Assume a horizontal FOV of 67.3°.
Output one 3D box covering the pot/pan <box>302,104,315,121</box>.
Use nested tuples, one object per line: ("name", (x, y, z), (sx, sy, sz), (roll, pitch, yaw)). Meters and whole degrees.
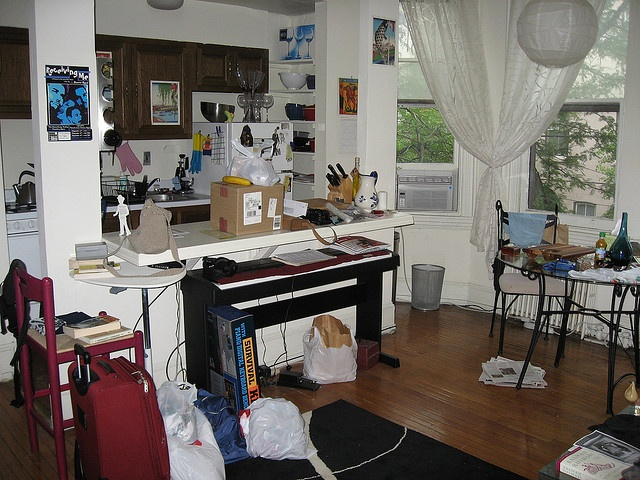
("pot/pan", (-0.124, -1.360, 5.191), (0.074, 0.146, 0.163), (-6, 15, -26))

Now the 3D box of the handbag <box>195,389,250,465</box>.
("handbag", (-0.570, 1.120, 2.900), (0.273, 0.364, 0.116), (-7, -18, -29))

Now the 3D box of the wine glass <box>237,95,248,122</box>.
("wine glass", (-0.804, -1.436, 5.175), (0.076, 0.341, 0.211), (1, 6, 13))

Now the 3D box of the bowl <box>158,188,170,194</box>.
("bowl", (-1.658, -0.527, 5.192), (0.046, 0.059, 0.129), (10, 8, 38))

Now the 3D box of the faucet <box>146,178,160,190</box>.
("faucet", (-1.708, -0.565, 4.974), (0.127, 0.152, 0.531), (-3, 15, -18))

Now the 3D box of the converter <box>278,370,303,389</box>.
("converter", (-0.221, 1.055, 3.652), (0.163, 0.076, 0.092), (4, 17, 17))

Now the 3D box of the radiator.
("radiator", (1.911, 0.425, 4.377), (0.860, 0.622, 0.917), (0, 8, -14))

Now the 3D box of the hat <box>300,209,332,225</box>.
("hat", (-0.010, -0.172, 3.570), (0.113, 0.056, 0.157), (-7, 13, -34))

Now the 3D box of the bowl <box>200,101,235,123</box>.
("bowl", (-1.062, -1.331, 5.033), (0.251, 0.164, 0.255), (4, 12, -1))

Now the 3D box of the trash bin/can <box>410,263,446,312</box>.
("trash bin/can", (1.131, 0.469, 5.295), (0.418, 0.516, 0.436), (8, 13, 33))

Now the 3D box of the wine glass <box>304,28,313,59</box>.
("wine glass", (-0.130, -2.199, 5.357), (0.063, 0.331, 0.131), (-11, 18, -42))

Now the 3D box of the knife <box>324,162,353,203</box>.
("knife", (0.169, -0.496, 4.147), (0.222, 0.342, 0.404), (2, 14, 2))

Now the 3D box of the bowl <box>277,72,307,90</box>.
("bowl", (-0.299, -1.775, 5.413), (0.293, 0.200, 0.295), (1, 14, 0))

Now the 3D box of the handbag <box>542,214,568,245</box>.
("handbag", (2.152, -0.084, 4.398), (0.179, 0.314, 0.228), (-11, 18, -26))

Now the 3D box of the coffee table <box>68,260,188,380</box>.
("coffee table", (-1.108, 0.456, 3.053), (0.642, 0.763, 0.690), (-13, 23, -43))

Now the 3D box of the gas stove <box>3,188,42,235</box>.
("gas stove", (-2.329, -0.212, 3.811), (0.242, 0.337, 0.331), (11, 14, 42))

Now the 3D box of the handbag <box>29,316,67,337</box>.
("handbag", (-1.580, 0.498, 2.802), (0.189, 0.062, 0.153), (4, 7, 7))

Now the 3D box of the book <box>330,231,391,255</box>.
("book", (0.319, 0.044, 3.767), (0.228, 0.058, 0.228), (-10, 20, -36))

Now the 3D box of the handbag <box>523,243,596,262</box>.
("handbag", (1.860, 0.108, 3.778), (0.524, 0.092, 0.338), (-4, 15, -20))

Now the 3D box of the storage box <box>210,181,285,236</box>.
("storage box", (-0.488, -0.244, 3.312), (0.463, 0.382, 0.353), (-10, 20, -38))

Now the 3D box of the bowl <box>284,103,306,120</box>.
("bowl", (-0.281, -1.434, 5.415), (0.194, 0.156, 0.221), (-1, 9, -7))

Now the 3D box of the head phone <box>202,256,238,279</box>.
("head phone", (-0.647, 0.181, 3.099), (0.125, 0.094, 0.180), (18, 11, 34))
